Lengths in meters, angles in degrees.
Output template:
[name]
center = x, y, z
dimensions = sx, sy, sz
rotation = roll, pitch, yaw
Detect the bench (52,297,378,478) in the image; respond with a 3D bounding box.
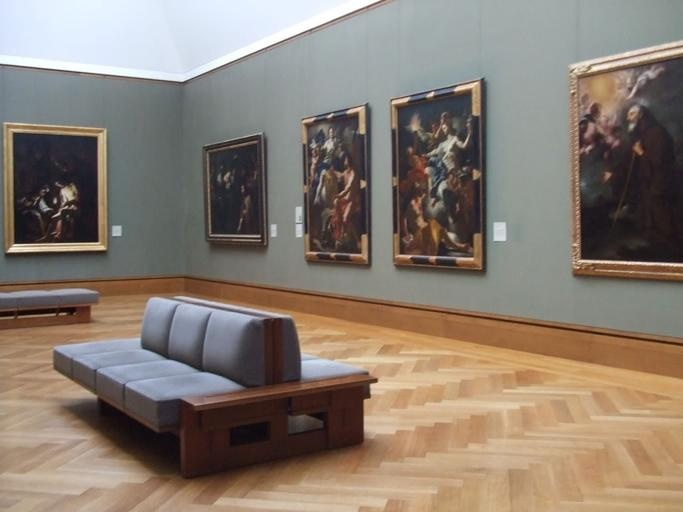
[bench]
center = -1.133, 0.970, 4.216
dimensions = 2.619, 1.056, 1.495
rotation = 2, 3, 40
